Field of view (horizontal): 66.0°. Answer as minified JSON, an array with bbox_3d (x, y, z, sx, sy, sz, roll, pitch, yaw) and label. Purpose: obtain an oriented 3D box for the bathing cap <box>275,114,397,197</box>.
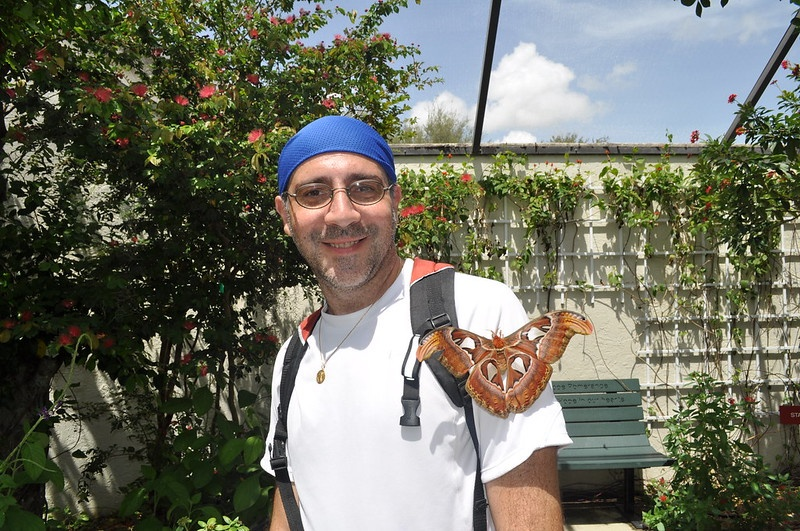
[{"bbox_3d":[-0.352,-0.683,3.659,0.552,0.370,0.588,-9,-5,-26],"label":"bathing cap"}]
